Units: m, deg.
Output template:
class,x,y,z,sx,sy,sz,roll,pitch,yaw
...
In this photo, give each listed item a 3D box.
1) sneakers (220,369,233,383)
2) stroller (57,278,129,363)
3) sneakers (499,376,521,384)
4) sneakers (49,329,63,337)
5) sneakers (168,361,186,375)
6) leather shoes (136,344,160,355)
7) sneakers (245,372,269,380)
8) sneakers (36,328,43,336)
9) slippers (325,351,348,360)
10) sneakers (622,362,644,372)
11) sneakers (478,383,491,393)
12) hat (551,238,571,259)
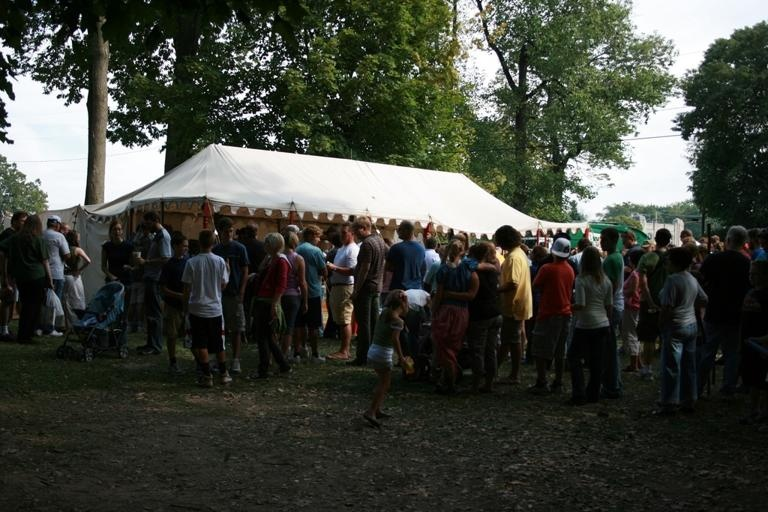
class,x,y,z,sx,sy,sz,roll,pitch,yaw
sneakers,-2.485,1.932,13.375,0.094,0.162,0.245,0,9,10
stroller,-5.075,1.137,14.874,0.810,1.195,1.031,5,5,34
sneakers,2.038,2.034,13.747,0.356,0.132,0.127,0,-1,3
sneakers,-6.685,1.598,17.211,0.327,0.131,0.109,0,23,-22
sneakers,-3.437,1.884,13.968,0.148,0.143,0.349,3,-8,-34
leather shoes,-4.282,1.727,15.414,0.493,0.199,0.176,0,-5,8
sneakers,-2.041,1.973,13.689,0.424,0.171,0.138,3,-7,8
sneakers,-7.047,1.594,17.330,0.179,0.147,0.132,7,-11,-19
slippers,-0.852,1.841,15.348,0.430,0.164,0.142,6,-12,-3
sneakers,4.375,1.976,14.848,0.339,0.226,0.126,3,2,14
sneakers,1.579,2.065,13.080,0.094,0.177,0.201,9,-5,-44
hat,2.705,-0.110,12.940,0.224,0.170,0.324,6,24,13
